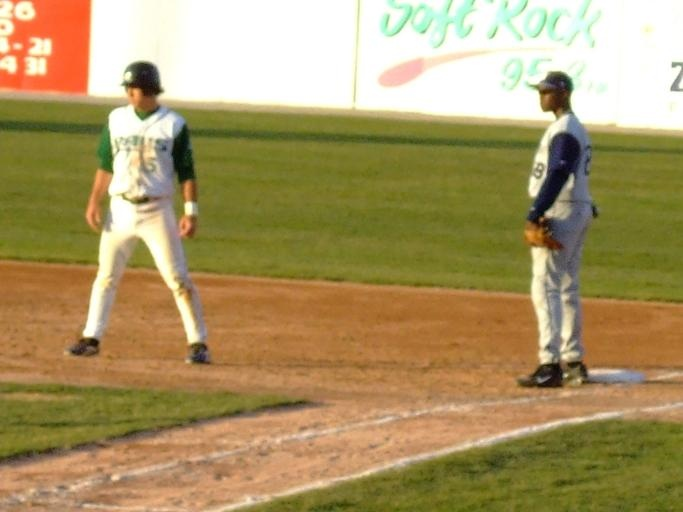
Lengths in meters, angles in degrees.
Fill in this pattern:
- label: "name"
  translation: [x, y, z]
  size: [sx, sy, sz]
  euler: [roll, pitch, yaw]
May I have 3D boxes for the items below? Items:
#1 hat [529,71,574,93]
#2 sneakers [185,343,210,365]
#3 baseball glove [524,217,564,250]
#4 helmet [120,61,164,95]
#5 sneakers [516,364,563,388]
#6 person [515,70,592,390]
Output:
- label: "hat"
  translation: [2.167, -1.769, 16.028]
  size: [0.320, 0.165, 0.221]
  euler: [-2, 7, 3]
- label: "sneakers"
  translation: [-1.474, 1.031, 16.389]
  size: [0.221, 0.212, 0.216]
  euler: [0, -1, 4]
- label: "baseball glove"
  translation: [2.044, -0.222, 15.900]
  size: [0.370, 0.321, 0.164]
  euler: [4, 10, 8]
- label: "helmet"
  translation: [-2.014, -1.828, 16.262]
  size: [0.411, 0.301, 0.296]
  euler: [-15, 25, -30]
- label: "sneakers"
  translation: [2.031, 1.235, 16.012]
  size: [0.368, 0.232, 0.236]
  euler: [3, 2, 3]
- label: "person"
  translation: [2.229, -0.245, 16.020]
  size: [0.747, 3.180, 0.565]
  euler: [3, 10, -2]
